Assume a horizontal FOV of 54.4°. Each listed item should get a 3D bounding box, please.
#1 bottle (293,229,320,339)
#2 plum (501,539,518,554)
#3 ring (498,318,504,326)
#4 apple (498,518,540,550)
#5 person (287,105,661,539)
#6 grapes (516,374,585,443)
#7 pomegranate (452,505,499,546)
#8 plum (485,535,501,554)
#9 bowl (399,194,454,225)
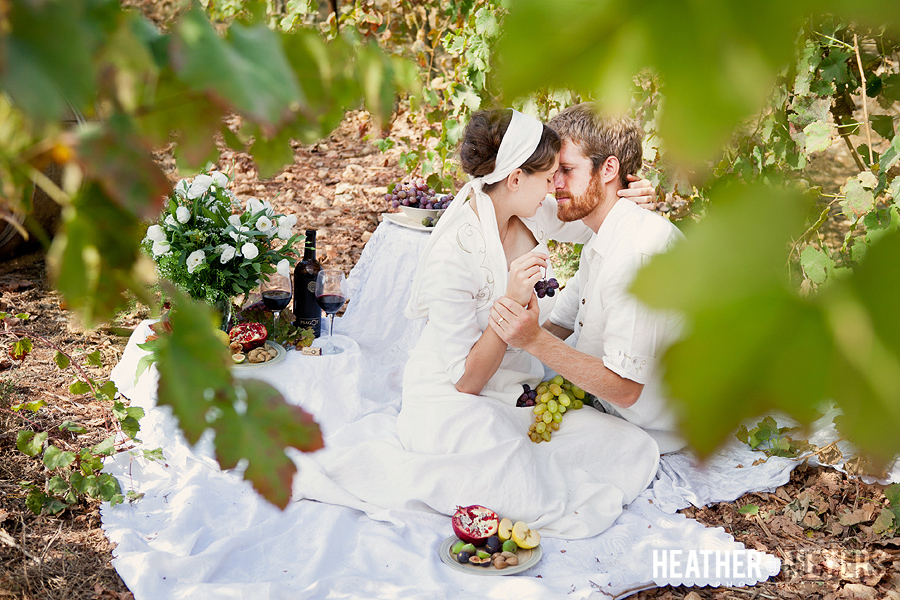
[{"bbox_3d":[-0.648,-0.060,3.962,0.127,0.513,0.142,3,-1,-10],"label":"bottle"},{"bbox_3d":[0.187,0.779,2.768,0.037,0.037,0.037,2,0,-30],"label":"plum"},{"bbox_3d":[0.162,0.068,2.822,0.021,0.019,0.005,-2,-3,18],"label":"ring"},{"bbox_3d":[0.222,0.749,2.817,0.084,0.039,0.091,2,21,-34],"label":"apple"},{"bbox_3d":[0.087,0.028,3.359,1.515,1.515,1.058,13,19,36],"label":"person"},{"bbox_3d":[0.393,0.378,3.257,0.144,0.135,0.343,59,35,0],"label":"grapes"},{"bbox_3d":[0.055,0.726,2.902,0.133,0.086,0.144,2,-2,32],"label":"pomegranate"},{"bbox_3d":[0.138,0.778,2.777,0.046,0.045,0.046,11,27,17],"label":"plum"},{"bbox_3d":[-0.142,-0.465,4.537,0.214,0.080,0.216,-3,17,1],"label":"bowl"}]
